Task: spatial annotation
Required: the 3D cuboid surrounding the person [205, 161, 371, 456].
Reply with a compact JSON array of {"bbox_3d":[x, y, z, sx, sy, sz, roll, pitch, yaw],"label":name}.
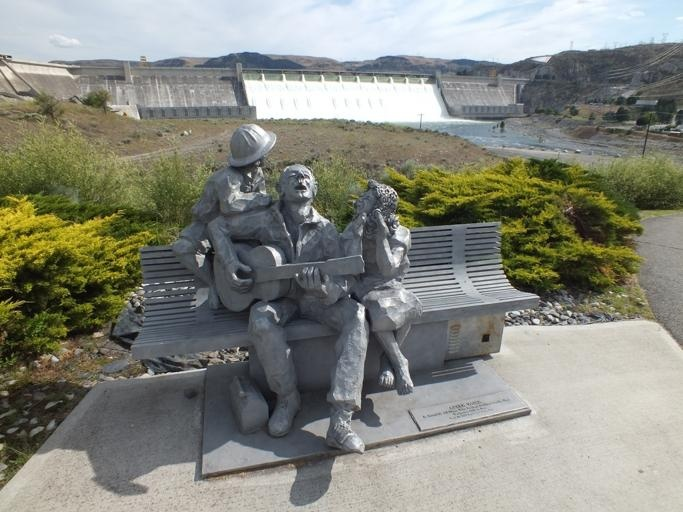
[{"bbox_3d":[-0.341,0.491,3.875,1.145,2.624,1.473,-10,20,-10],"label":"person"}]
